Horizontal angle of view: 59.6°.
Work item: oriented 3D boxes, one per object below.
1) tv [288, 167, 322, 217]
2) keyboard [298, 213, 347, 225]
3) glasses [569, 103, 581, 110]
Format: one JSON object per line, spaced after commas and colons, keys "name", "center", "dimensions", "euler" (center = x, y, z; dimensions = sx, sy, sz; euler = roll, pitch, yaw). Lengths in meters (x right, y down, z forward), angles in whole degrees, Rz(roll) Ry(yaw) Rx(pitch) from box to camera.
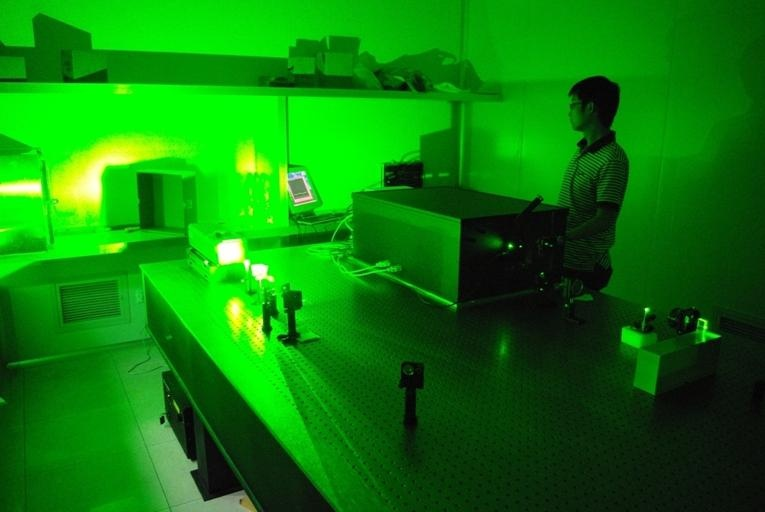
{"name": "tv", "center": [-0.556, -0.425, 4.375], "dimensions": [0.236, 0.305, 0.186], "euler": [-19, 16, -29]}
{"name": "keyboard", "center": [-0.387, -0.244, 4.207], "dimensions": [0.314, 0.046, 0.320], "euler": [-3, 12, -3]}
{"name": "glasses", "center": [1.122, -0.872, 3.898], "dimensions": [0.051, 0.020, 0.047], "euler": [-13, 25, -26]}
